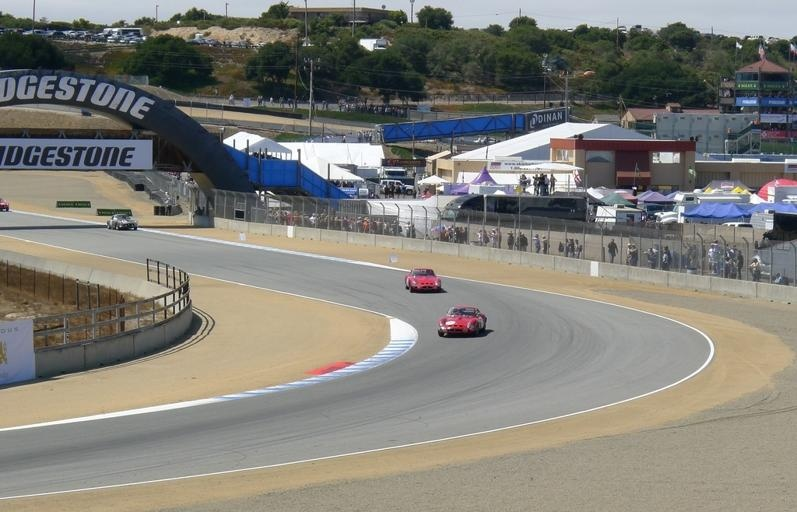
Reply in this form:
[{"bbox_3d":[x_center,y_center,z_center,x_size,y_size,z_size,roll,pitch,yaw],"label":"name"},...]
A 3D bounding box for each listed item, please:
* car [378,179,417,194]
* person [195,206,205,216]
[{"bbox_3d":[-0.245,-8.733,223.113,4.220,1.660,2.030,-3,5,3],"label":"car"},{"bbox_3d":[-23.400,-5.145,203.034,1.346,0.890,0.543,4,7,41],"label":"person"}]
